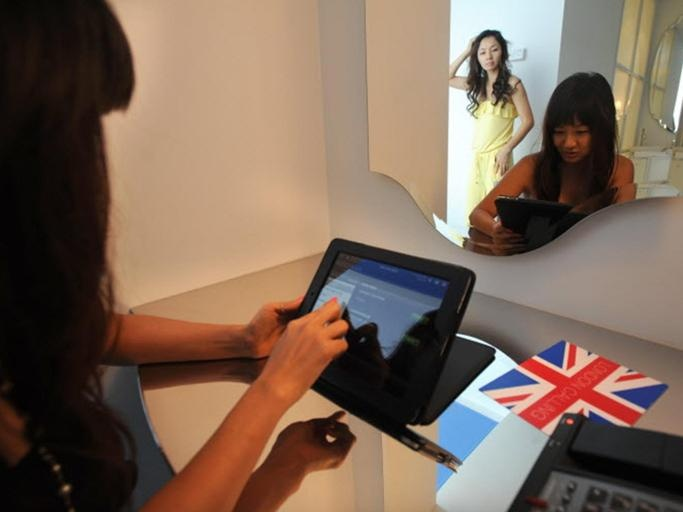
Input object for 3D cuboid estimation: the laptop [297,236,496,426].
[{"bbox_3d":[0.116,0.093,1.057,0.345,0.283,0.307,18,25,36],"label":"laptop"}]
